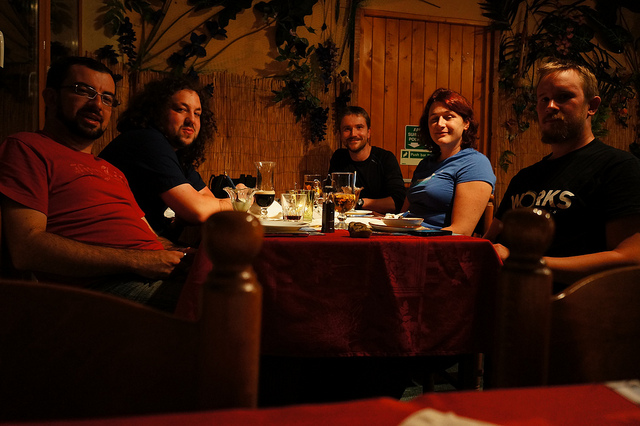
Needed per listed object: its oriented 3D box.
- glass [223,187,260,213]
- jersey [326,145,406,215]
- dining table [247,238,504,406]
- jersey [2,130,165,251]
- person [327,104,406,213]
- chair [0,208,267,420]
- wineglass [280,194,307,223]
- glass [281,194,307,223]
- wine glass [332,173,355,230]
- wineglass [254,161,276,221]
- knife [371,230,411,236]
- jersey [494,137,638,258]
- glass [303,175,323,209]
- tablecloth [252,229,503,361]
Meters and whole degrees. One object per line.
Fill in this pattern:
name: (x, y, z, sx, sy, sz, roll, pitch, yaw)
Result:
glass: (-0.358, -0.072, 2.230, 0.193, 0.130, 0.192, 0, -5, 1)
jersey: (0.423, -0.296, 4.638, 0.941, 0.706, 0.550, 3, 13, 45)
dining table: (0.198, 0.359, 1.981, 0.885, 0.427, 0.881, 0, -2, -4)
jersey: (-0.993, -0.094, 2.033, 0.248, 0.408, 0.442, -32, -24, 12)
person: (0.391, -0.478, 4.594, 0.800, 1.053, 0.665, -4, 1, 30)
chair: (-0.309, 0.156, 0.856, 0.391, 0.289, 0.373, 1, 1, -17)
wineglass: (-0.123, -0.028, 2.220, 0.117, 0.125, 0.115, 1, -1, 28)
glass: (-0.127, -0.031, 2.282, 0.128, 0.142, 0.133, 5, 9, 24)
wine glass: (0.108, -0.060, 2.369, 0.121, 0.266, 0.122, 0, 2, 8)
wineglass: (-0.292, -0.117, 2.547, 0.123, 0.314, 0.116, 1, 0, -44)
knife: (0.278, 0.077, 1.877, 0.168, 0.024, 0.013, 2, 0, 8)
jersey: (1.084, -0.072, 2.124, 0.305, 0.487, 0.581, -2, 15, -16)
glass: (-0.065, -0.167, 3.515, 0.159, 0.262, 0.156, -1, 3, 20)
tablecloth: (0.219, 0.293, 1.728, 0.597, 0.248, 0.588, 0, 0, -6)
